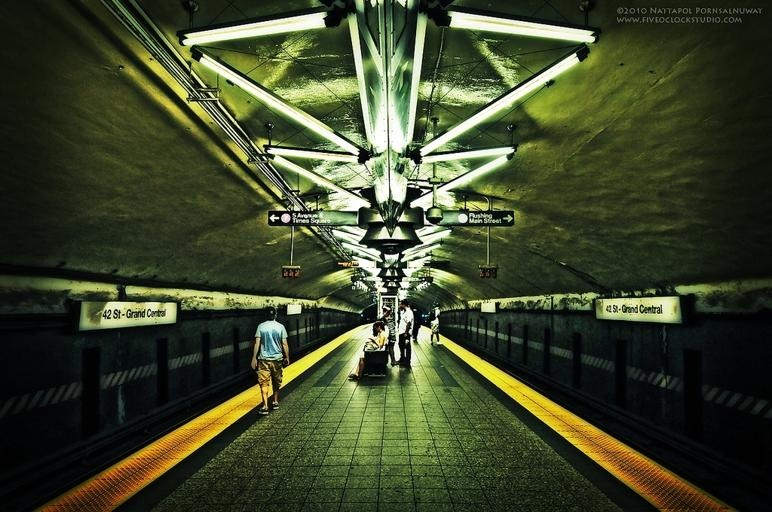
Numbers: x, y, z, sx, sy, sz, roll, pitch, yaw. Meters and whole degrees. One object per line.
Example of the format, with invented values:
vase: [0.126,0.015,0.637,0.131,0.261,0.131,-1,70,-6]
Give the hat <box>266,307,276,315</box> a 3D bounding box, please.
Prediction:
hat: [-2.138,1.036,10.839,0.190,0.122,0.175,-1,-3,4]

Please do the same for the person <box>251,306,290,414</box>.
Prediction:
person: [-2.171,2.081,11.136,0.624,1.837,0.799,1,6,3]

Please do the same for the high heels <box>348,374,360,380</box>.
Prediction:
high heels: [-0.773,2.977,14.228,0.297,0.095,0.109,3,-11,7]

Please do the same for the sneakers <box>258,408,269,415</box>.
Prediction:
sneakers: [-2.282,2.918,10.928,0.170,0.082,0.246,0,5,-14]
